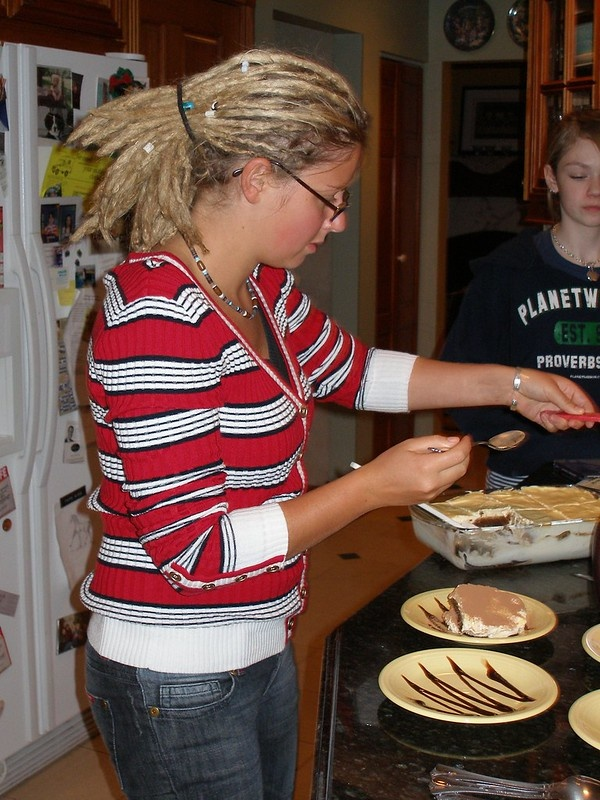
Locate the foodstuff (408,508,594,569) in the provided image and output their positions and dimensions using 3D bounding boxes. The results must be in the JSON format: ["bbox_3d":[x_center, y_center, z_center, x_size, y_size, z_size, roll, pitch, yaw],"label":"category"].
[{"bbox_3d":[0.376,0.234,1.259,0.220,0.040,0.121,0,3,-19],"label":"foodstuff"}]

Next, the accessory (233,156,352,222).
[{"bbox_3d":[0.005,-0.249,0.857,0.076,0.021,0.072,35,1,-9],"label":"accessory"}]
